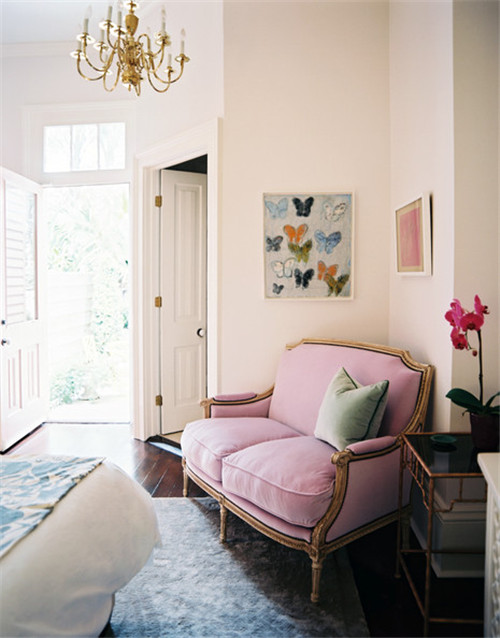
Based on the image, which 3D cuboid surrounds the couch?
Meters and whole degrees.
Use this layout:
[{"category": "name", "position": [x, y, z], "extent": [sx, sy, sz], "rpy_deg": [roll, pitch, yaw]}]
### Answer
[{"category": "couch", "position": [0.225, 0.613, 2.425], "extent": [0.880, 0.957, 1.222], "rpy_deg": [1, 1, -34]}]

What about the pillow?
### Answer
[{"category": "pillow", "position": [0.431, 0.444, 2.175], "extent": [0.176, 0.372, 0.398], "rpy_deg": [11, -4, -19]}]
